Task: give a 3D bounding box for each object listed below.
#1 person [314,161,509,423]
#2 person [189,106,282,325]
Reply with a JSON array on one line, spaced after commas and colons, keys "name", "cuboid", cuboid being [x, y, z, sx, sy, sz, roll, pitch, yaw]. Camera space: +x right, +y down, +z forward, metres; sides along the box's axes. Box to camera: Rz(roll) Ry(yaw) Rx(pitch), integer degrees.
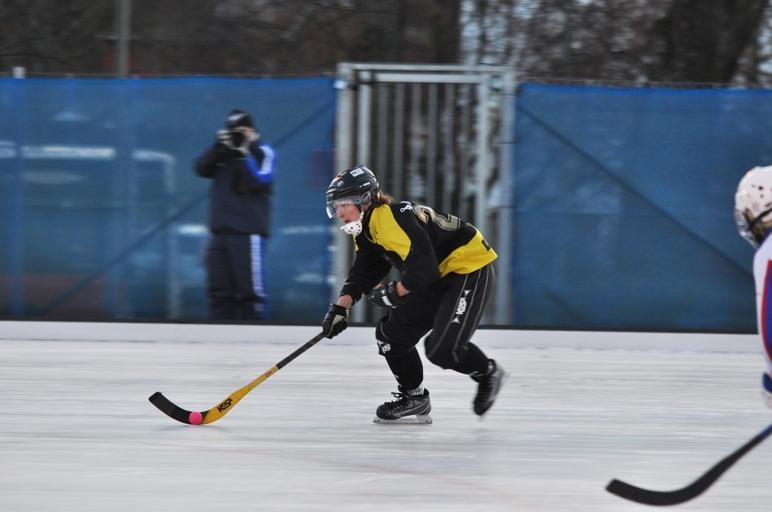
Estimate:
[{"name": "person", "cuboid": [0.205, 0.249, 11.569, 1.393, 1.660, 1.046, 0, 1, 16]}, {"name": "person", "cuboid": [-1.240, -0.346, 13.267, 0.619, 1.672, 0.479, 3, 16, -6]}]
